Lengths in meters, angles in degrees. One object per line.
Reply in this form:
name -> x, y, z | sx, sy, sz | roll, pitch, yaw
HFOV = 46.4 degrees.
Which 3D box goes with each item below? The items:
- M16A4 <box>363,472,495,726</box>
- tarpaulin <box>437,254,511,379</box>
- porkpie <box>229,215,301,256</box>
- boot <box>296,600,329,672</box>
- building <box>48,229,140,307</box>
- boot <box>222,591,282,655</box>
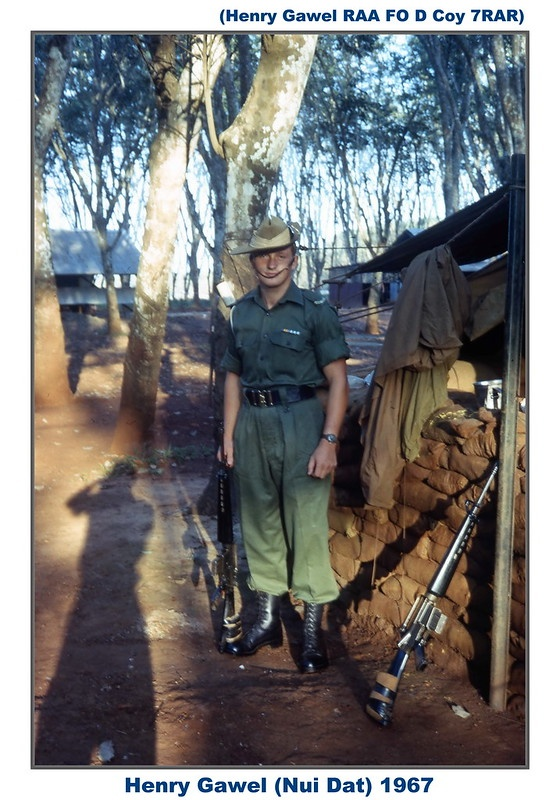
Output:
M16A4 -> 0.733, 0.934, 3.074 | 0.123, 1.188, 0.273 | 13, -25, 40
tarpaulin -> 1.162, -0.532, 4.004 | 0.233, 0.750, 0.595 | 8, 4, 29
porkpie -> -0.014, -0.815, 3.166 | 0.197, 0.106, 0.276 | 13, 30, 40
boot -> 0.162, 1.170, 3.326 | 0.132, 0.319, 0.341 | -9, 17, 13
building -> -6.130, -4.328, 21.505 | 2.747, 2.627, 4.598 | 0, 8, -10
boot -> -0.147, 1.166, 3.454 | 0.369, 0.292, 0.164 | -1, 0, -31
